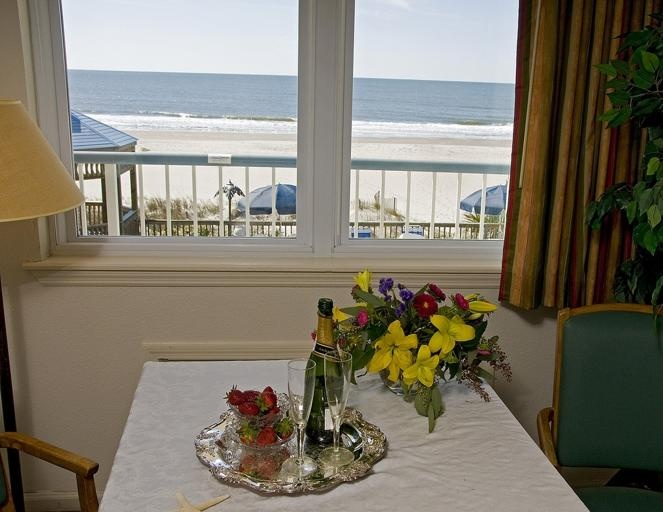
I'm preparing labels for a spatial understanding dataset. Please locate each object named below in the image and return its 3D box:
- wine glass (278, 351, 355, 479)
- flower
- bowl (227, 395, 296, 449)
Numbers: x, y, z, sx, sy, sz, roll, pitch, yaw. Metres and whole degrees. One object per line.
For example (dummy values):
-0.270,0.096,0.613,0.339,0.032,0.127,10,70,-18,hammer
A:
-0.040,0.407,1.535,0.207,0.297,0.226,-4,8,-7,wine glass
0.216,0.250,1.827,0.456,0.300,0.450,16,21,24,flower
-0.183,0.432,1.521,0.150,0.089,0.145,2,17,-1,bowl
